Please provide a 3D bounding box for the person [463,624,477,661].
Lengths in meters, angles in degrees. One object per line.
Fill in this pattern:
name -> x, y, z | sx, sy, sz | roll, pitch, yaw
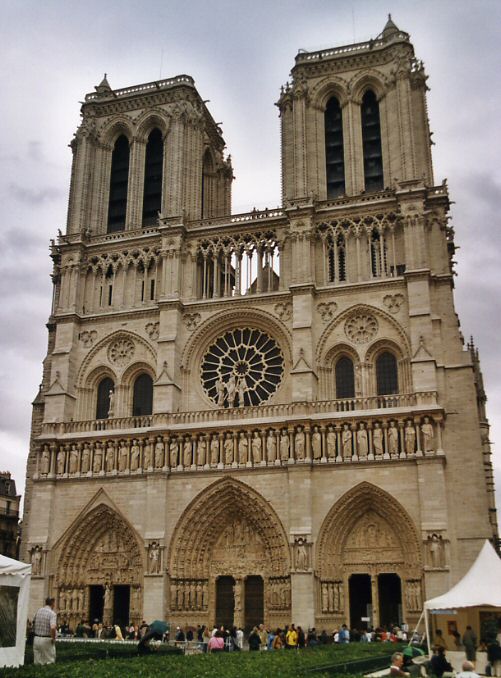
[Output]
person -> 4.943, 6.932, 17.837 | 0.263, 0.758, 0.832 | -5, -21, 13
